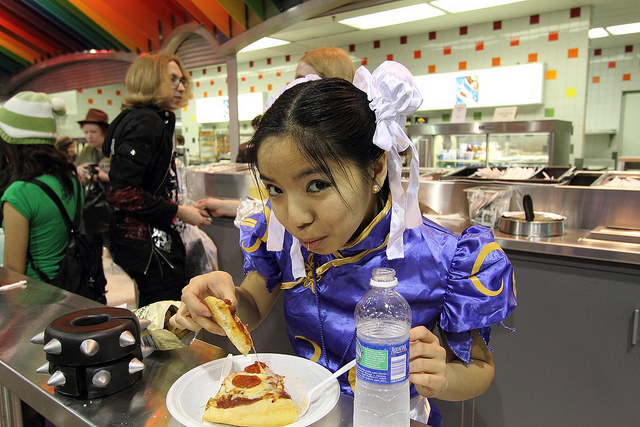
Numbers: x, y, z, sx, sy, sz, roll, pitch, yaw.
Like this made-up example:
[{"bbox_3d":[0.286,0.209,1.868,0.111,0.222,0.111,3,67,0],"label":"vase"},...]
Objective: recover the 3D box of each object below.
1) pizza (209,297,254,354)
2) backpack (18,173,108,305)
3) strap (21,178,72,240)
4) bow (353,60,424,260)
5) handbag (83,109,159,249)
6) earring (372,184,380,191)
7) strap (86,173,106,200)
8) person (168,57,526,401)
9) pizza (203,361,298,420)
[{"bbox_3d":[-0.344,0.402,1.657,0.147,0.194,0.265,-2,7,-14],"label":"pizza"},{"bbox_3d":[-1.770,0.246,2.958,0.292,0.608,0.374,-15,-23,40],"label":"backpack"},{"bbox_3d":[-1.832,-0.038,2.937,0.256,0.397,0.067,-5,9,-31],"label":"strap"},{"bbox_3d":[0.266,-0.203,1.605,0.277,0.749,0.262,-1,8,-7],"label":"bow"},{"bbox_3d":[-1.512,-0.246,3.614,0.245,1.052,0.741,4,3,-35],"label":"handbag"},{"bbox_3d":[0.197,-0.089,1.529,0.021,0.021,0.005,4,-3,-13],"label":"earring"},{"bbox_3d":[-1.910,-0.228,3.715,0.193,0.270,0.091,-1,-3,-6],"label":"strap"},{"bbox_3d":[0.117,0.056,1.629,1.119,1.223,0.556,3,8,27],"label":"person"},{"bbox_3d":[-0.235,0.605,1.466,0.292,0.102,0.261,-2,7,-12],"label":"pizza"}]
